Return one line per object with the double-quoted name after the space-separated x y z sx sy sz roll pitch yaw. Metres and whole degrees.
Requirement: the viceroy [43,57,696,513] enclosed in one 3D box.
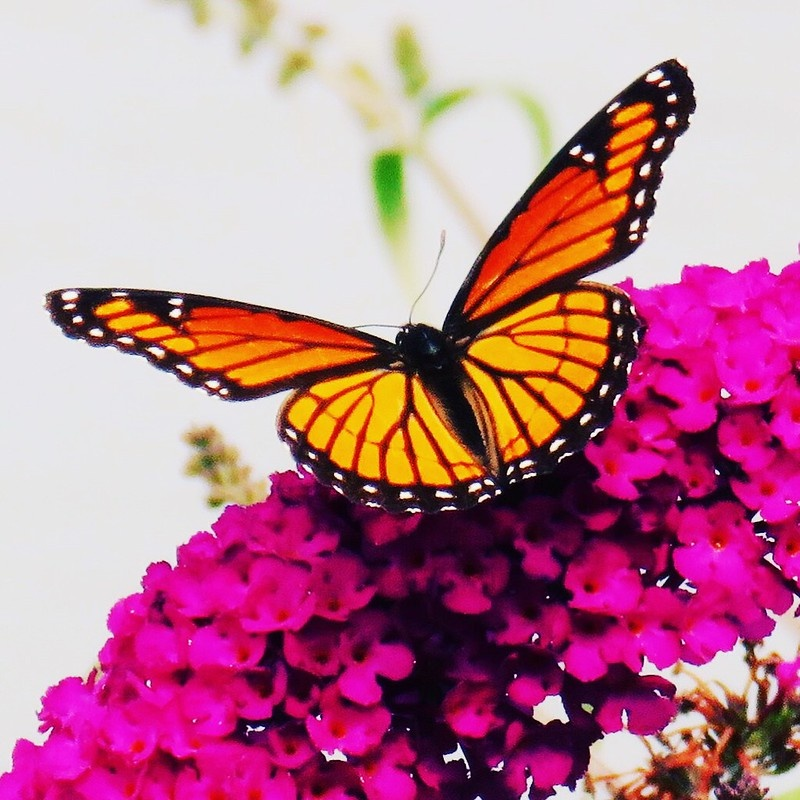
0.038 -0.057 1.430 0.756 0.188 0.345 -22 -66 5 "viceroy"
